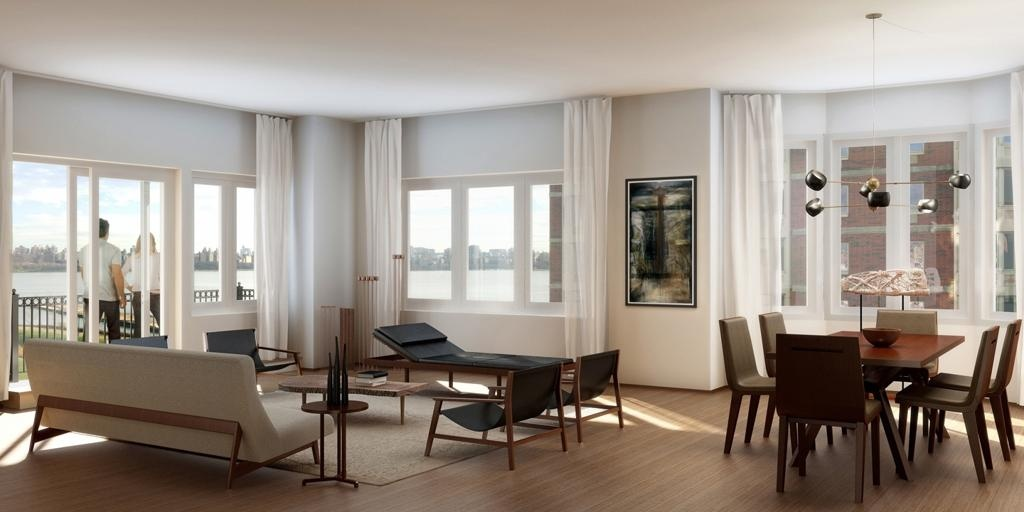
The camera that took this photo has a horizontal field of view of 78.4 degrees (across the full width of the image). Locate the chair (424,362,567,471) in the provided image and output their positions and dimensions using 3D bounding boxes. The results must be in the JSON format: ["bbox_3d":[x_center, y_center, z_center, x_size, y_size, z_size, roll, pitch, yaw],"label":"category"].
[{"bbox_3d":[-0.079,1.975,8.245,1.654,1.097,1.508,0,-2,32],"label":"chair"}]

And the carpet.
[{"bbox_3d":[-1.631,2.501,8.621,1.887,0.444,2.653,-1,0,36],"label":"carpet"}]

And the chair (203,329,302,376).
[{"bbox_3d":[-4.370,1.546,10.638,1.419,0.876,1.201,-1,-2,34],"label":"chair"}]

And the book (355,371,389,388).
[{"bbox_3d":[-2.053,1.745,8.970,0.273,0.118,0.308,0,-2,29],"label":"book"}]

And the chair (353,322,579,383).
[{"bbox_3d":[-0.648,1.619,10.006,3.099,0.705,1.259,-2,-1,29],"label":"chair"}]

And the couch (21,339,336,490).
[{"bbox_3d":[-4.439,1.846,7.776,3.736,1.524,0.631,2,11,16],"label":"couch"}]

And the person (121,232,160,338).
[{"bbox_3d":[-6.540,0.509,11.052,0.637,1.757,0.308,-10,14,-40],"label":"person"}]

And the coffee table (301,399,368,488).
[{"bbox_3d":[-2.114,2.156,7.609,0.810,1.017,0.835,0,10,0],"label":"coffee table"}]

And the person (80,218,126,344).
[{"bbox_3d":[-7.025,0.402,10.659,0.334,2.070,0.643,5,12,26],"label":"person"}]
